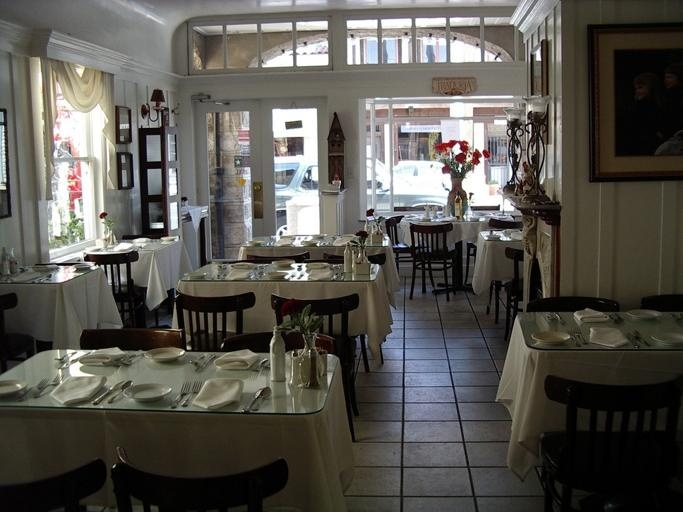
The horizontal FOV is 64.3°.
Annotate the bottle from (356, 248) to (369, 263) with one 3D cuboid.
[{"bbox_3d":[0.165,-0.001,4.438,0.100,0.120,0.105,1,2,-3],"label":"bottle"}]

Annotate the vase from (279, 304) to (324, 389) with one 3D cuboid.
[{"bbox_3d":[-0.159,0.402,2.476,0.204,0.373,0.202,-12,-8,37],"label":"vase"}]

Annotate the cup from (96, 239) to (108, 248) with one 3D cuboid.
[{"bbox_3d":[-2.586,-0.132,5.858,0.091,0.068,0.052,0,-3,25],"label":"cup"}]

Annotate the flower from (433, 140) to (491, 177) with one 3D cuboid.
[{"bbox_3d":[1.655,-1.318,7.548,0.672,0.547,0.710,2,-1,11],"label":"flower"}]

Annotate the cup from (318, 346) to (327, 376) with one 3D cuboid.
[{"bbox_3d":[-0.089,0.487,2.530,0.063,0.119,0.111,0,-2,0],"label":"cup"}]

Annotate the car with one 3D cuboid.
[{"bbox_3d":[0.808,-1.147,8.941,2.708,1.352,1.540,-2,8,6],"label":"car"}]

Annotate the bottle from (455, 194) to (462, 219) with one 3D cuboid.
[{"bbox_3d":[1.611,-0.674,7.409,0.109,0.329,0.246,1,11,12],"label":"bottle"}]
